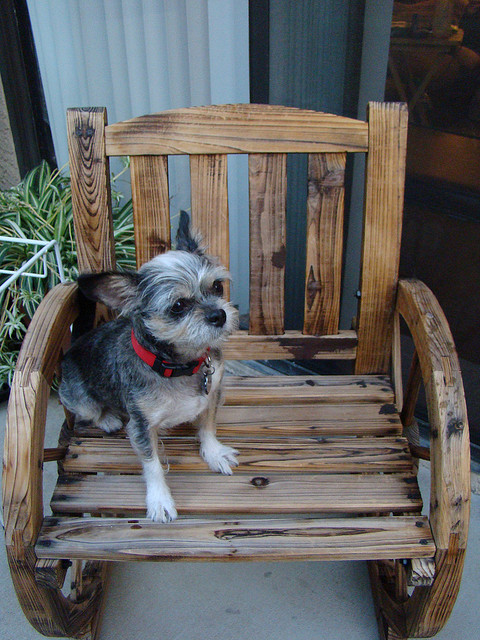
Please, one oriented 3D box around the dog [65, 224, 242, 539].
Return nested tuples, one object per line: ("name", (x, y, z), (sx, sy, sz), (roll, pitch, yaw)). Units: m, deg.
("dog", (-0.263, 0.124, 1.566), (0.375, 0.696, 0.730), (-21, 28, -35))
